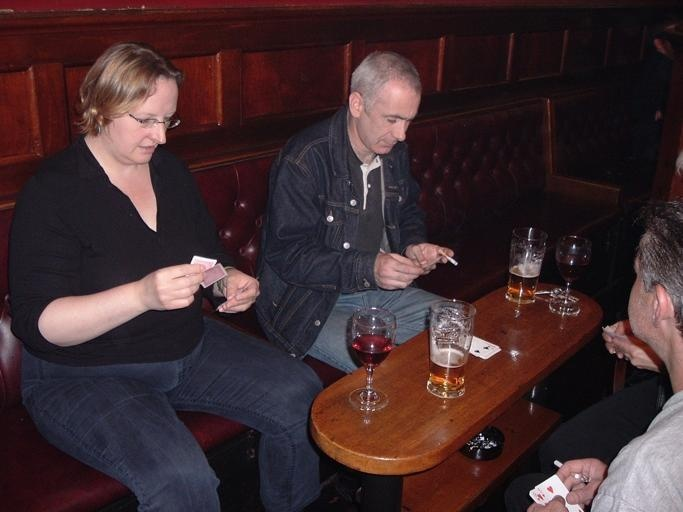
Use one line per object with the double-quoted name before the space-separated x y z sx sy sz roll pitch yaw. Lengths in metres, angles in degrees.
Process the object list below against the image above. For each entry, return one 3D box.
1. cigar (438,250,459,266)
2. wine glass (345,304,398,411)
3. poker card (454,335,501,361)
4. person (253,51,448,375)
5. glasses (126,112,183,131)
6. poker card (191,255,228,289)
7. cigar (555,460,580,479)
"cigar" 0.568 0.020 2.803 0.050 0.060 0.186 30 6 -10
"wine glass" 0.112 0.347 1.842 0.167 0.302 0.281 -3 17 10
"poker card" 0.570 0.376 2.118 0.116 0.017 0.126 26 32 35
"person" 0.151 -0.198 2.667 1.003 1.443 1.147 -5 15 -27
"glasses" -0.695 -0.507 1.969 0.048 0.064 0.186 7 21 37
"poker card" -0.515 0.058 1.988 0.145 0.110 0.044 26 -7 23
"cigar" 0.842 0.806 1.980 0.027 0.051 0.215 14 -17 32
